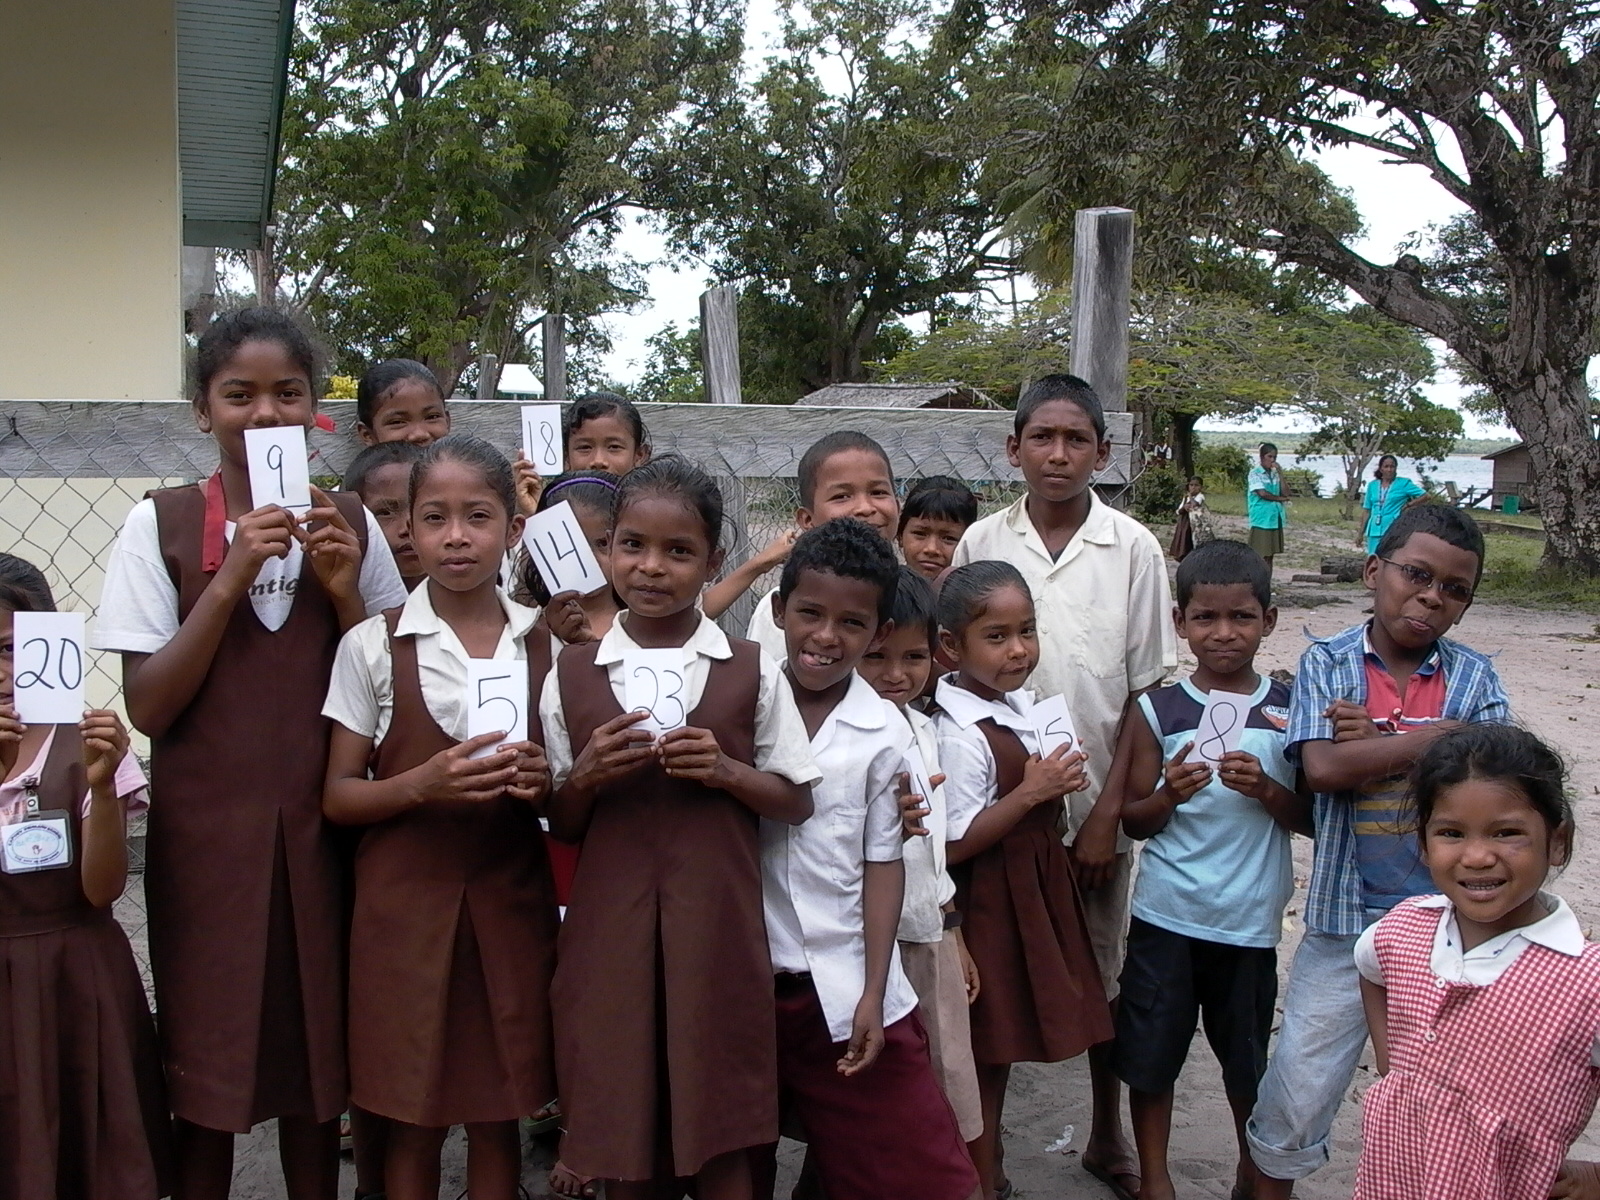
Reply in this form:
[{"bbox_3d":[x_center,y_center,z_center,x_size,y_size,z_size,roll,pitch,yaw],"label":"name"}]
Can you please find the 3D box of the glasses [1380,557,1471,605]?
[{"bbox_3d":[1.851,-0.053,3.986,0.258,0.113,0.138,-1,-2,-11],"label":"glasses"}]
